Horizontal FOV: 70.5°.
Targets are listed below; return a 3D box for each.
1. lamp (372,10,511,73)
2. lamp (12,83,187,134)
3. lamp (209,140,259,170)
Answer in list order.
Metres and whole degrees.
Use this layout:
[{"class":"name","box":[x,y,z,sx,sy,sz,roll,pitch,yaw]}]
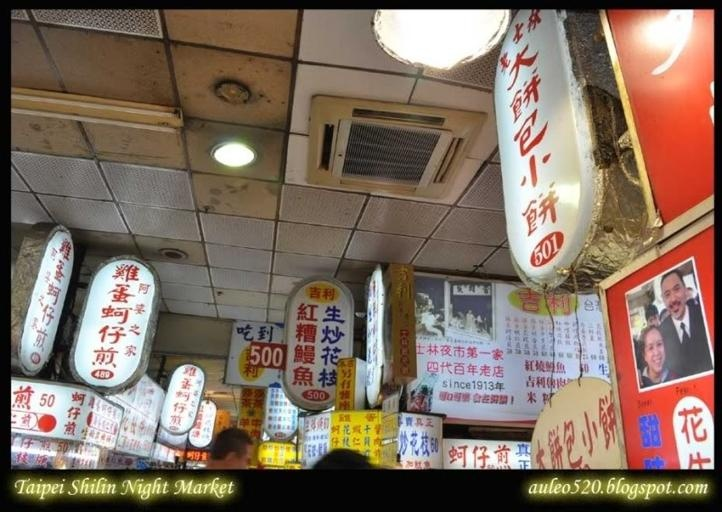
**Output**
[{"class":"lamp","box":[0.383,-1.116,2.501,0.657,0.267,0.310,0,-8,3]},{"class":"lamp","box":[-1.748,-0.970,3.386,1.118,0.176,0.258,1,-8,-7]},{"class":"lamp","box":[-0.932,-0.754,3.765,0.284,0.116,0.310,8,-11,-44]}]
